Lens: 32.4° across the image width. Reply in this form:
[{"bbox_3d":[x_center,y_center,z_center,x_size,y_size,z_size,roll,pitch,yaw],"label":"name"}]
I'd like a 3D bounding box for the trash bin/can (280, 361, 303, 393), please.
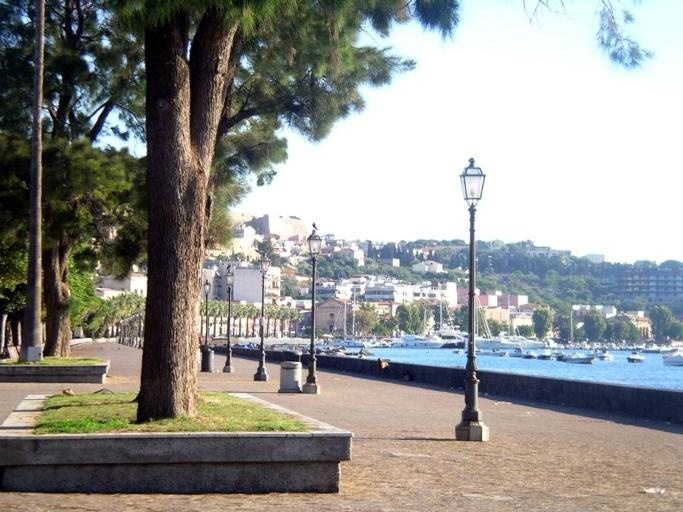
[{"bbox_3d":[-1.560,3.588,34.609,0.759,0.994,0.786,0,-1,36],"label":"trash bin/can"}]

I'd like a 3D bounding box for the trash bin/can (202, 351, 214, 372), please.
[{"bbox_3d":[-5.317,4.253,47.374,0.621,1.055,0.684,1,-3,-6],"label":"trash bin/can"}]
